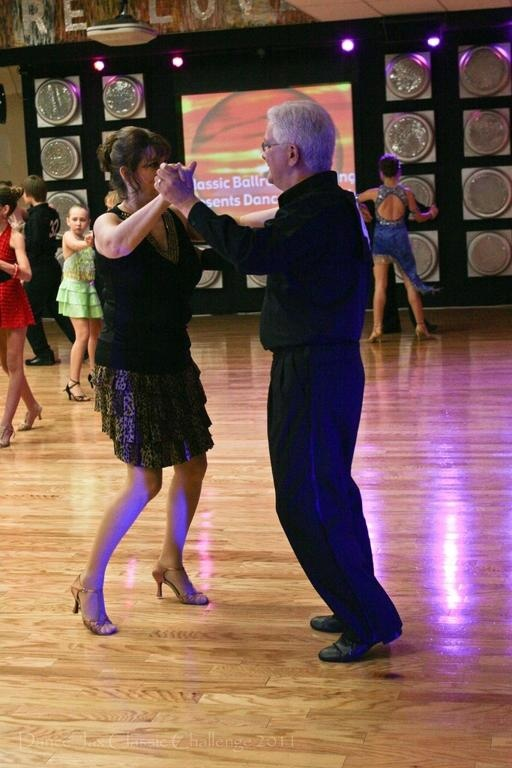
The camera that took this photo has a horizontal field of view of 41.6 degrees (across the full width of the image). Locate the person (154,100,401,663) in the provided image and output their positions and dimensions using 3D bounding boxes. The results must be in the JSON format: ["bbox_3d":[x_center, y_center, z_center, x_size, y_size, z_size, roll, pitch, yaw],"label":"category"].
[{"bbox_3d":[0.044,-0.003,1.590,0.653,1.213,0.555,1,9,13],"label":"person"}]

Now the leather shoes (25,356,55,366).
[{"bbox_3d":[-2.339,-0.248,7.384,0.344,0.119,0.118,3,2,1],"label":"leather shoes"}]

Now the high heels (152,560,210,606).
[{"bbox_3d":[-0.241,0.600,2.040,0.239,0.131,0.079,8,-3,-5],"label":"high heels"}]

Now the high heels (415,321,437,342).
[{"bbox_3d":[1.952,-0.582,7.716,0.146,0.164,0.412,-6,-15,9],"label":"high heels"}]

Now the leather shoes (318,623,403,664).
[{"bbox_3d":[0.256,0.617,1.597,0.177,0.069,0.057,-20,7,3],"label":"leather shoes"}]

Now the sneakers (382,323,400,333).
[{"bbox_3d":[1.672,-0.672,8.280,0.153,0.102,0.150,1,-2,-43],"label":"sneakers"}]
